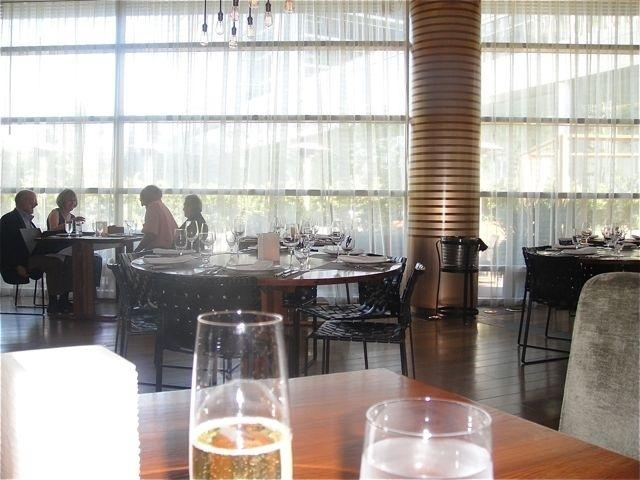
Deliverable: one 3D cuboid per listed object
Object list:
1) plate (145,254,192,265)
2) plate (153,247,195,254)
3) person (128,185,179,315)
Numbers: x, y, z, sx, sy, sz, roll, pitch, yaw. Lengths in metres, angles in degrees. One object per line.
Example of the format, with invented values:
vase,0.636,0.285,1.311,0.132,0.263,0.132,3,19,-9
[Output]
plate,-0.770,0.099,3.146,0.151,0.034,0.105,1,5,3
plate,-0.845,0.065,3.733,0.191,0.040,0.126,1,4,-35
person,-1.497,0.030,5.723,0.356,1.054,0.441,2,-4,15
